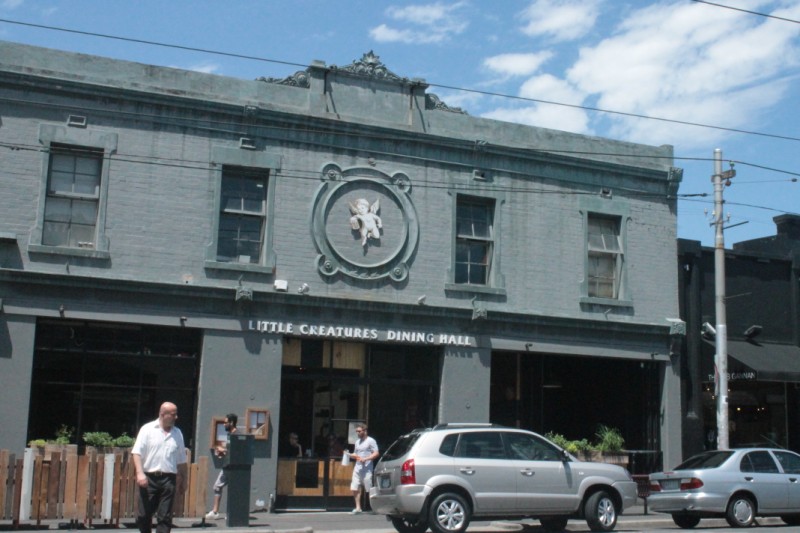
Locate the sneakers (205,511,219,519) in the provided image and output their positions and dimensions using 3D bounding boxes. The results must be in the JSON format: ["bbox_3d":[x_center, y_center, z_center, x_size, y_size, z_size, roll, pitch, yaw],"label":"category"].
[{"bbox_3d":[-5.002,6.601,35.218,0.320,0.137,0.142,6,-13,-8],"label":"sneakers"}]

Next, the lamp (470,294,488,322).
[{"bbox_3d":[2.212,1.225,38.935,0.687,0.871,0.615,-1,-17,-5],"label":"lamp"}]

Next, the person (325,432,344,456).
[{"bbox_3d":[-1.890,5.104,37.858,0.545,1.007,0.545,-1,-4,-2],"label":"person"}]

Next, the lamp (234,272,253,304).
[{"bbox_3d":[-4.472,0.622,36.910,0.565,1.050,0.640,-3,-9,20],"label":"lamp"}]

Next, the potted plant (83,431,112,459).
[{"bbox_3d":[-8.100,4.690,35.582,0.785,0.593,0.828,4,-12,-14],"label":"potted plant"}]

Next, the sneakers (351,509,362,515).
[{"bbox_3d":[-1.214,6.782,36.703,0.341,0.141,0.133,13,-18,-38],"label":"sneakers"}]
